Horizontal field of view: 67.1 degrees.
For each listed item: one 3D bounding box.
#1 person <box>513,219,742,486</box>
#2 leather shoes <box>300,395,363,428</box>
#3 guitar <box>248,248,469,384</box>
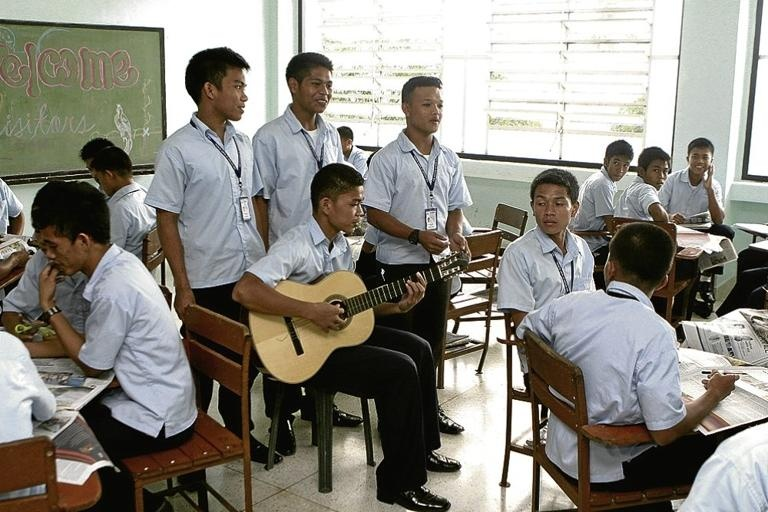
[{"bbox_3d":[0.942,0.392,2.318,0.786,1.035,0.359,8,14,32],"label":"person"},{"bbox_3d":[-0.311,0.940,3.598,0.499,0.205,0.157,2,7,-3],"label":"leather shoes"},{"bbox_3d":[-0.130,0.277,2.925,1.048,0.427,0.143,-21,3,-25],"label":"guitar"}]
